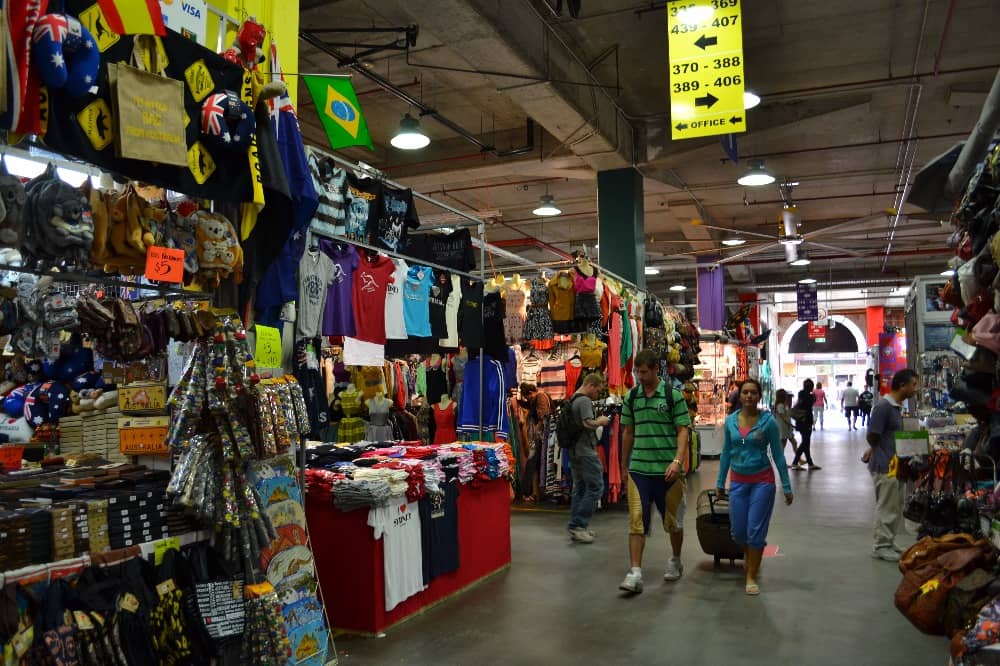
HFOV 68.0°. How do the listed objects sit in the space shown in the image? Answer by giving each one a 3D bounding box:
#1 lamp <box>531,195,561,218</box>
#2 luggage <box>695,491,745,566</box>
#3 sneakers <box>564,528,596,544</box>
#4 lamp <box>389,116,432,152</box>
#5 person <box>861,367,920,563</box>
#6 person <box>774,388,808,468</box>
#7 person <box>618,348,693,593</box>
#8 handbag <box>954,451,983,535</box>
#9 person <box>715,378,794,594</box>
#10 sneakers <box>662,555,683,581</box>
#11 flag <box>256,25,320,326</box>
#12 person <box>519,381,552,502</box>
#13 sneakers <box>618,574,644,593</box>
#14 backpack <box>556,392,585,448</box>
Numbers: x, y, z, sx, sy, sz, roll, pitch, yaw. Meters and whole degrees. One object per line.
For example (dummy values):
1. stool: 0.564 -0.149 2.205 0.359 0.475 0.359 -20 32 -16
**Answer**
1. lamp: 0.865 -2.338 13.768 0.684 0.373 0.703 1 1 8
2. luggage: 2.188 1.978 7.699 0.472 0.708 0.739 5 -14 -19
3. sneakers: 0.913 2.304 8.408 0.318 0.155 0.131 -3 -7 30
4. lamp: -1.205 -2.811 10.033 0.438 0.556 0.737 -1 -1 1
5. person: 3.928 1.320 7.472 0.478 1.912 0.618 -1 -1 28
6. person: 5.296 1.644 13.584 0.498 1.457 0.398 -11 20 -1
7. person: 1.404 1.233 6.762 0.610 2.156 0.735 -1 -1 13
8. handbag: 3.169 1.069 4.994 0.193 0.573 0.622 -1 -2 29
9. person: 2.331 1.355 6.800 0.624 1.895 0.890 -1 -1 18
10. sneakers: 1.623 2.226 6.958 0.109 0.188 0.286 -9 -16 29
11. flag: -1.449 -1.068 5.014 0.390 2.026 0.815 0 -1 -17
12. person: 0.517 1.600 10.690 0.484 1.777 0.784 -1 -1 2
13. sneakers: 1.172 2.201 6.569 0.235 0.207 0.220 -1 -1 -3
14. backpack: 0.856 1.004 8.707 0.345 0.651 0.440 4 14 19
